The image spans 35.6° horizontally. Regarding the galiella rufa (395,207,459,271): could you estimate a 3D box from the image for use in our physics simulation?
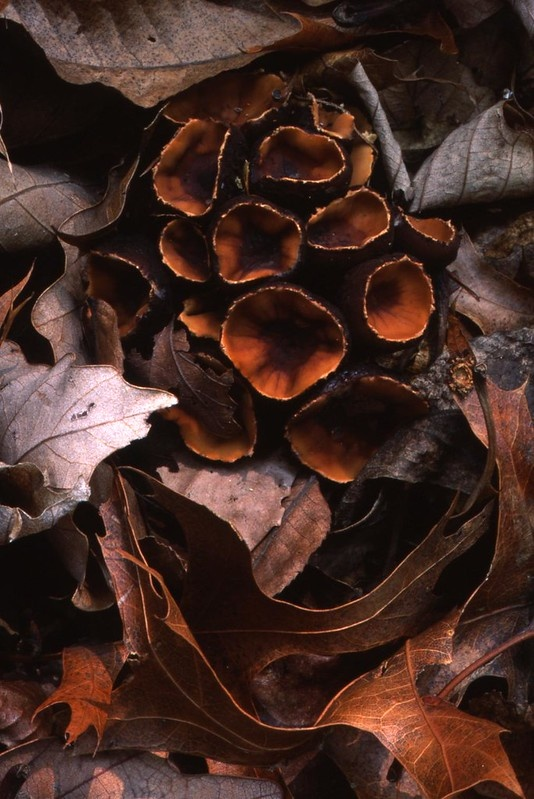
[{"bbox_3d":[0.351,-0.355,1.892,0.136,0.075,0.116,26,46,20],"label":"galiella rufa"}]

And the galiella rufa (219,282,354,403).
[{"bbox_3d":[0.037,-0.173,1.879,0.244,0.256,0.092,19,72,-27],"label":"galiella rufa"}]

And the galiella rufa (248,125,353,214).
[{"bbox_3d":[0.072,-0.491,1.831,0.215,0.179,0.114,5,43,4],"label":"galiella rufa"}]

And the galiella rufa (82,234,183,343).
[{"bbox_3d":[-0.299,-0.249,1.823,0.180,0.164,0.165,-19,46,-22],"label":"galiella rufa"}]

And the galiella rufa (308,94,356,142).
[{"bbox_3d":[0.142,-0.633,1.877,0.103,0.044,0.121,11,49,-20],"label":"galiella rufa"}]

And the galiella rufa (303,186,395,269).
[{"bbox_3d":[0.193,-0.361,1.859,0.217,0.093,0.147,-25,72,12],"label":"galiella rufa"}]

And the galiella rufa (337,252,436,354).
[{"bbox_3d":[0.264,-0.210,1.797,0.206,0.157,0.152,2,42,0],"label":"galiella rufa"}]

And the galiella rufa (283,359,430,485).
[{"bbox_3d":[0.164,0.047,1.828,0.087,0.278,0.304,-29,29,-31],"label":"galiella rufa"}]

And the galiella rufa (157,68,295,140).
[{"bbox_3d":[-0.097,-0.676,1.899,0.264,0.052,0.152,-28,61,-4],"label":"galiella rufa"}]

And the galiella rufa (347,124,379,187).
[{"bbox_3d":[0.221,-0.547,1.884,0.108,0.040,0.124,4,92,-2],"label":"galiella rufa"}]

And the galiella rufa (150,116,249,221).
[{"bbox_3d":[-0.133,-0.493,1.884,0.231,0.115,0.279,-6,81,11],"label":"galiella rufa"}]
